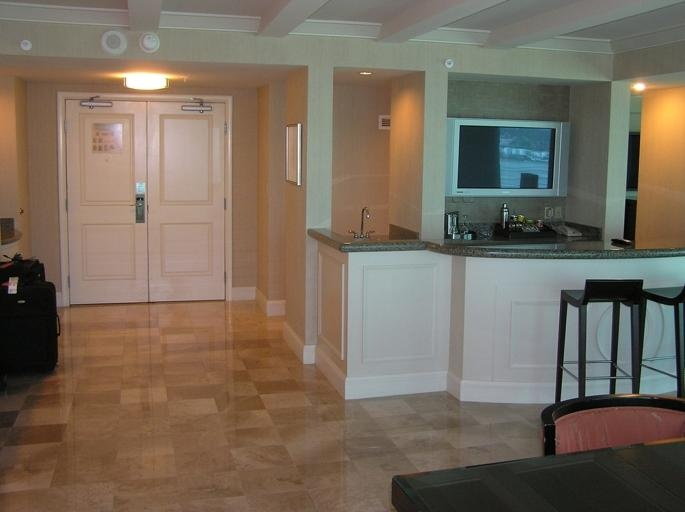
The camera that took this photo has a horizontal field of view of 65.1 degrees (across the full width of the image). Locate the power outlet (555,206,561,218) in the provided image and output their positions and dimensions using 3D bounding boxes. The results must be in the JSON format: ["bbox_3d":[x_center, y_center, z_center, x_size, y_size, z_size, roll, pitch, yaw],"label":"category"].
[{"bbox_3d":[2.514,-0.518,6.252,0.083,0.148,0.019,0,10,-4],"label":"power outlet"}]

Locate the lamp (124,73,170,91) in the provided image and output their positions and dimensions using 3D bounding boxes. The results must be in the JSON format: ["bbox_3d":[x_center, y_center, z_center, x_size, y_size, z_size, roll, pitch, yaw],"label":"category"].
[{"bbox_3d":[-2.036,-1.830,5.550,0.400,0.109,0.437,-3,11,-22],"label":"lamp"}]

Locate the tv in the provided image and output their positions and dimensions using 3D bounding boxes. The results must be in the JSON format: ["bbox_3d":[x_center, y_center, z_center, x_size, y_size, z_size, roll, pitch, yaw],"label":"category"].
[{"bbox_3d":[1.744,-1.109,5.858,0.979,0.572,0.095,1,4,-12],"label":"tv"}]

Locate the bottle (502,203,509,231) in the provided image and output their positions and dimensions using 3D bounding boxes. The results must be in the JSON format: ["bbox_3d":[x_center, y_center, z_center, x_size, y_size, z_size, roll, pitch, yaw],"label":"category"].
[{"bbox_3d":[1.840,-0.461,6.060,0.097,0.279,0.255,4,10,16],"label":"bottle"}]
